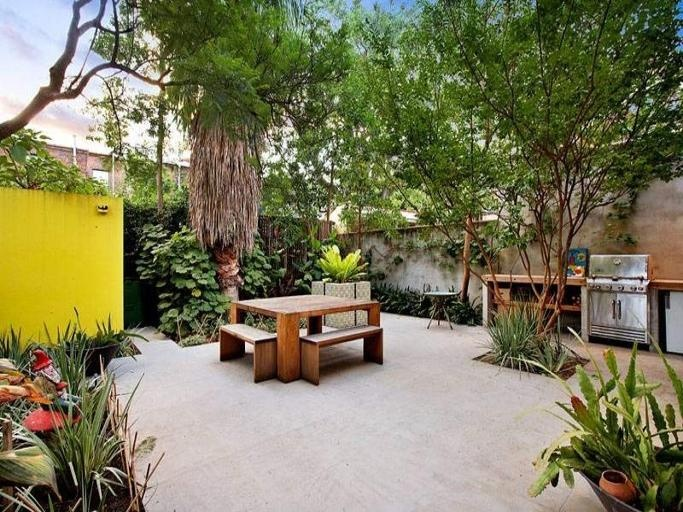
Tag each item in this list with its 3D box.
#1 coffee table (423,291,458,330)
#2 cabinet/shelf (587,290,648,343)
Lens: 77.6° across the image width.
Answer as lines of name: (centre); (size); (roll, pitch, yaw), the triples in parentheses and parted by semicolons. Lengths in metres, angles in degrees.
coffee table: (1.821, 0.939, 7.737); (0.581, 0.738, 0.615); (1, 3, -5)
cabinet/shelf: (3.919, 0.832, 5.977); (0.400, 0.688, 0.619); (5, -7, -35)
